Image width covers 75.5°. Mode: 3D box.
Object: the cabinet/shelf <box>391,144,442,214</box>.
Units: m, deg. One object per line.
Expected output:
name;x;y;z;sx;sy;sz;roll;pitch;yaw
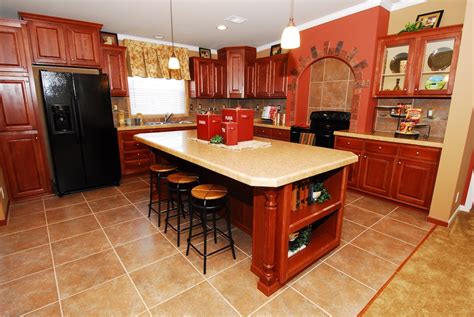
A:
cabinet/shelf;3.017;0.296;5.045;0.723;1.096;0.663;11;14;29

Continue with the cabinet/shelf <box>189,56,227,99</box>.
cabinet/shelf;-0.749;-1.939;7.512;0.967;0.904;0.476;-10;16;-40

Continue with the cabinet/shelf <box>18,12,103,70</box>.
cabinet/shelf;-3.154;-2.071;5.518;0.449;0.784;1.297;15;20;40

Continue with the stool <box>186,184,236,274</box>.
stool;-0.286;1.013;4.330;0.755;0.931;0.756;-8;-4;30

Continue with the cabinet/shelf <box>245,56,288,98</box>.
cabinet/shelf;0.780;-1.851;7.241;0.472;0.983;1.409;-10;15;-37

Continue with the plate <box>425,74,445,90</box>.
plate;3.139;-1.197;4.812;0.256;0.226;0.122;9;19;31

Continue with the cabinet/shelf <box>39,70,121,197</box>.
cabinet/shelf;-2.869;-0.392;5.753;1.106;2.045;0.808;-6;0;-22

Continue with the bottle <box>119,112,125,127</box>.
bottle;-2.459;-0.811;6.511;0.162;0.281;0.152;-11;-15;-3

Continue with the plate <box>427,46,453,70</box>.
plate;3.167;-1.548;4.782;0.305;0.356;0.143;6;18;22

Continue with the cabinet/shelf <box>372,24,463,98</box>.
cabinet/shelf;2.934;-1.558;4.886;0.445;1.101;1.317;-9;14;-40

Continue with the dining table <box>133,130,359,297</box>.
dining table;0.332;-0.185;3.963;1.796;1.429;3.524;-11;18;-41

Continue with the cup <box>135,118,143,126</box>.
cup;-2.137;-0.767;6.646;0.170;0.162;0.191;0;-13;-41

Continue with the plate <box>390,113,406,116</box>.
plate;2.760;-0.732;5.241;0.235;0.068;0.153;7;17;25

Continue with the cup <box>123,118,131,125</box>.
cup;-2.346;-0.771;6.531;0.164;0.155;0.094;-4;18;-25

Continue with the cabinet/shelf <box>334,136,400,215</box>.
cabinet/shelf;2.166;0.177;5.464;1.109;0.975;0.432;12;-13;6

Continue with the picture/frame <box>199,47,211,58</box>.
picture/frame;-0.797;-2.557;7.409;0.380;0.300;0.027;-4;2;-43

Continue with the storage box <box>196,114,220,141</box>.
storage box;-0.423;-0.481;4.677;0.290;0.345;0.367;-9;14;-33

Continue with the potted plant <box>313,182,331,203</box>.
potted plant;1.091;0.437;4.050;0.259;0.119;0.266;-9;13;-42

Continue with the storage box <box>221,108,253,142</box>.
storage box;0.005;-0.549;4.689;0.318;0.410;0.421;-8;14;-33

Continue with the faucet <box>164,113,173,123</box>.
faucet;-1.608;-0.950;7.164;0.202;0.205;0.238;-3;16;-7
